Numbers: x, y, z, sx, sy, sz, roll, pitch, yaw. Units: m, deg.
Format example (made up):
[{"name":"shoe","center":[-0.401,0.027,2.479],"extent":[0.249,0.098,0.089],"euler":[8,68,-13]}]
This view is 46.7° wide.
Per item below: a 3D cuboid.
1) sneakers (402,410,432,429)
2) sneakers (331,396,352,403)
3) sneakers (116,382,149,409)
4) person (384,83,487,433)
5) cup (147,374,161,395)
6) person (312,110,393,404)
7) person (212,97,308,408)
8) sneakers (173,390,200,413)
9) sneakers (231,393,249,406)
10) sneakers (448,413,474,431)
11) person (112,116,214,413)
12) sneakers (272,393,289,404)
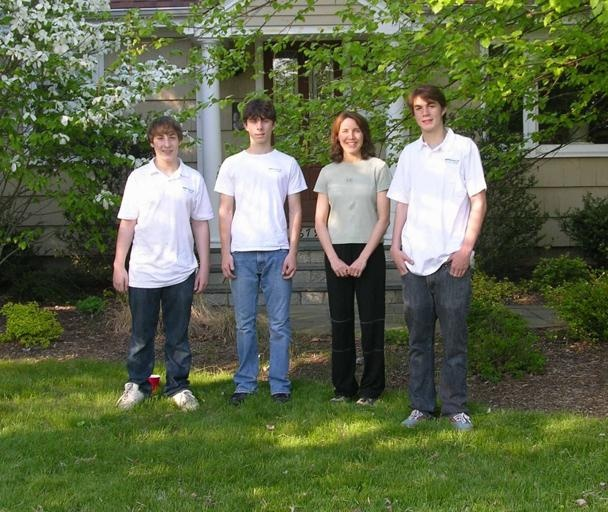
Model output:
[{"name":"sneakers","center":[0.752,1.108,4.777],"extent":[0.246,0.097,0.082],"euler":[0,1,-32]},{"name":"sneakers","center":[0.271,1.076,5.273],"extent":[0.150,0.068,0.055],"euler":[10,-8,-33]},{"name":"sneakers","center":[-1.279,1.031,5.266],"extent":[0.175,0.137,0.286],"euler":[1,9,9]},{"name":"person","center":[0.864,-0.007,4.793],"extent":[0.654,2.271,0.562],"euler":[3,9,22]},{"name":"cup","center":[-1.180,1.010,5.553],"extent":[0.109,0.090,0.117],"euler":[1,-6,0]},{"name":"person","center":[0.335,0.012,5.270],"extent":[0.568,2.148,0.548],"euler":[2,9,18]},{"name":"person","center":[-0.326,-0.054,5.389],"extent":[0.688,2.262,0.594],"euler":[-1,9,-1]},{"name":"sneakers","center":[-0.874,1.071,5.231],"extent":[0.183,0.102,0.304],"euler":[-3,9,-16]},{"name":"sneakers","center":[-0.485,1.067,5.268],"extent":[0.130,0.051,0.179],"euler":[1,9,9]},{"name":"sneakers","center":[1.033,1.098,4.691],"extent":[0.154,0.073,0.234],"euler":[0,9,5]},{"name":"person","center":[-1.057,0.030,5.350],"extent":[0.758,2.145,0.614],"euler":[-2,9,-11]},{"name":"sneakers","center":[-0.169,1.062,5.273],"extent":[0.128,0.046,0.121],"euler":[-2,9,-10]}]
